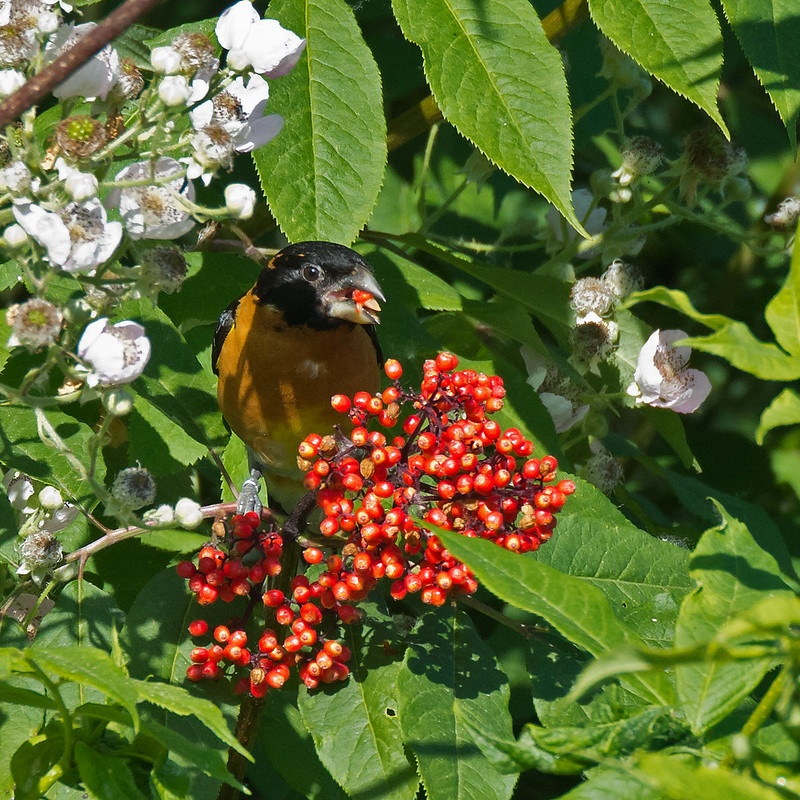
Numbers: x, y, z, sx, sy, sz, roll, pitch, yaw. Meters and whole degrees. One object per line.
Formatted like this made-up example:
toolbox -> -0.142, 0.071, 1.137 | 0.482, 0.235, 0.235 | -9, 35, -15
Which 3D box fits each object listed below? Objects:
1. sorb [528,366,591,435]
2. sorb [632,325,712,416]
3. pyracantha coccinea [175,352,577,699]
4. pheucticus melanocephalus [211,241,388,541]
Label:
sorb -> 0.475, 0.003, 3.315 | 0.206, 0.201, 0.261 | 10, 13, 2
sorb -> 0.701, -0.062, 2.969 | 0.217, 0.245, 0.454 | -24, -1, 10
pyracantha coccinea -> -0.081, 0.283, 2.318 | 1.026, 0.535, 0.339 | -35, -15, 24
pheucticus melanocephalus -> -0.286, -0.061, 3.882 | 0.723, 0.954, 1.216 | 6, 7, -6
